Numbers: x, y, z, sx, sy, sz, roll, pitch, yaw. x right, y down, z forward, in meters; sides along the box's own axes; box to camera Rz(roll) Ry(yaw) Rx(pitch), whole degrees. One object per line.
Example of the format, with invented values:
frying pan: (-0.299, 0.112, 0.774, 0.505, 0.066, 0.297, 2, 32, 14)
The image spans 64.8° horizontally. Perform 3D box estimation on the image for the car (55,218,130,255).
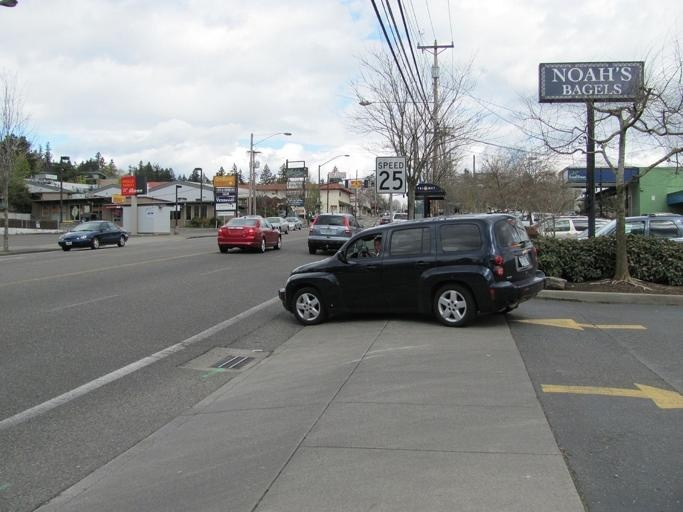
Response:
car: (-14.395, -1.177, 31.368, 1.813, 1.572, 3.725, 1, 9, 22)

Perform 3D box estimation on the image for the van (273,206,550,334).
van: (1.236, 0.108, 10.236, 4.078, 1.776, 2.076, 2, 3, 22)
